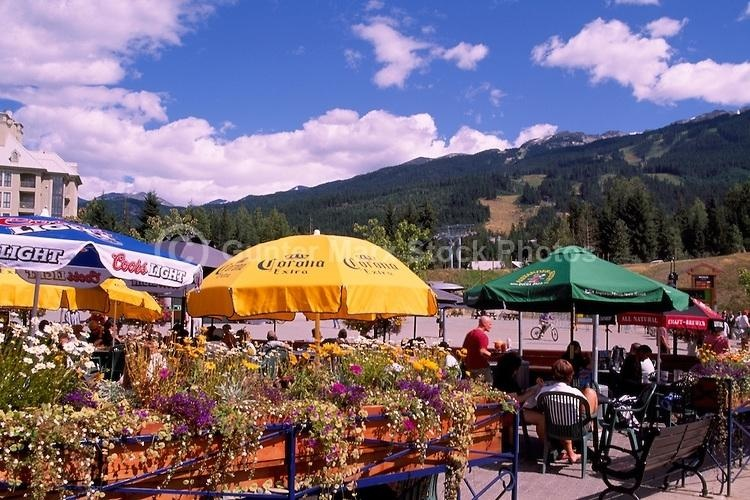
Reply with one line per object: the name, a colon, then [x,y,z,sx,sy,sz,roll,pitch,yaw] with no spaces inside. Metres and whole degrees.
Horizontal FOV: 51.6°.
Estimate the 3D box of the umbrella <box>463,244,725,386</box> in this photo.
umbrella: [3.313,0.595,12.819,2.639,1.885,2.751,-2,0,15]
